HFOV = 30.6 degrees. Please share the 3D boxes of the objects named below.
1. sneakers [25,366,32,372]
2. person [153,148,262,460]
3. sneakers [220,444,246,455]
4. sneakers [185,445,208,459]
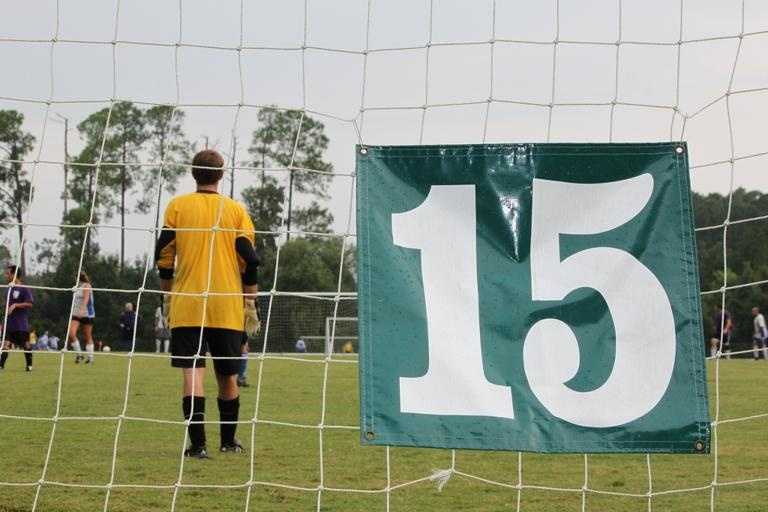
[{"bbox_3d":[-5.488,1.725,21.578,0.054,0.093,0.141,2,2,-3],"label":"sneakers"},{"bbox_3d":[-2.078,0.564,16.524,1.358,3.541,1.116,1,-9,-16],"label":"person"},{"bbox_3d":[-1.773,2.241,16.460,0.229,0.108,0.118,1,32,-20],"label":"sneakers"},{"bbox_3d":[-2.182,2.254,16.288,0.293,0.121,0.119,5,1,39],"label":"sneakers"}]
